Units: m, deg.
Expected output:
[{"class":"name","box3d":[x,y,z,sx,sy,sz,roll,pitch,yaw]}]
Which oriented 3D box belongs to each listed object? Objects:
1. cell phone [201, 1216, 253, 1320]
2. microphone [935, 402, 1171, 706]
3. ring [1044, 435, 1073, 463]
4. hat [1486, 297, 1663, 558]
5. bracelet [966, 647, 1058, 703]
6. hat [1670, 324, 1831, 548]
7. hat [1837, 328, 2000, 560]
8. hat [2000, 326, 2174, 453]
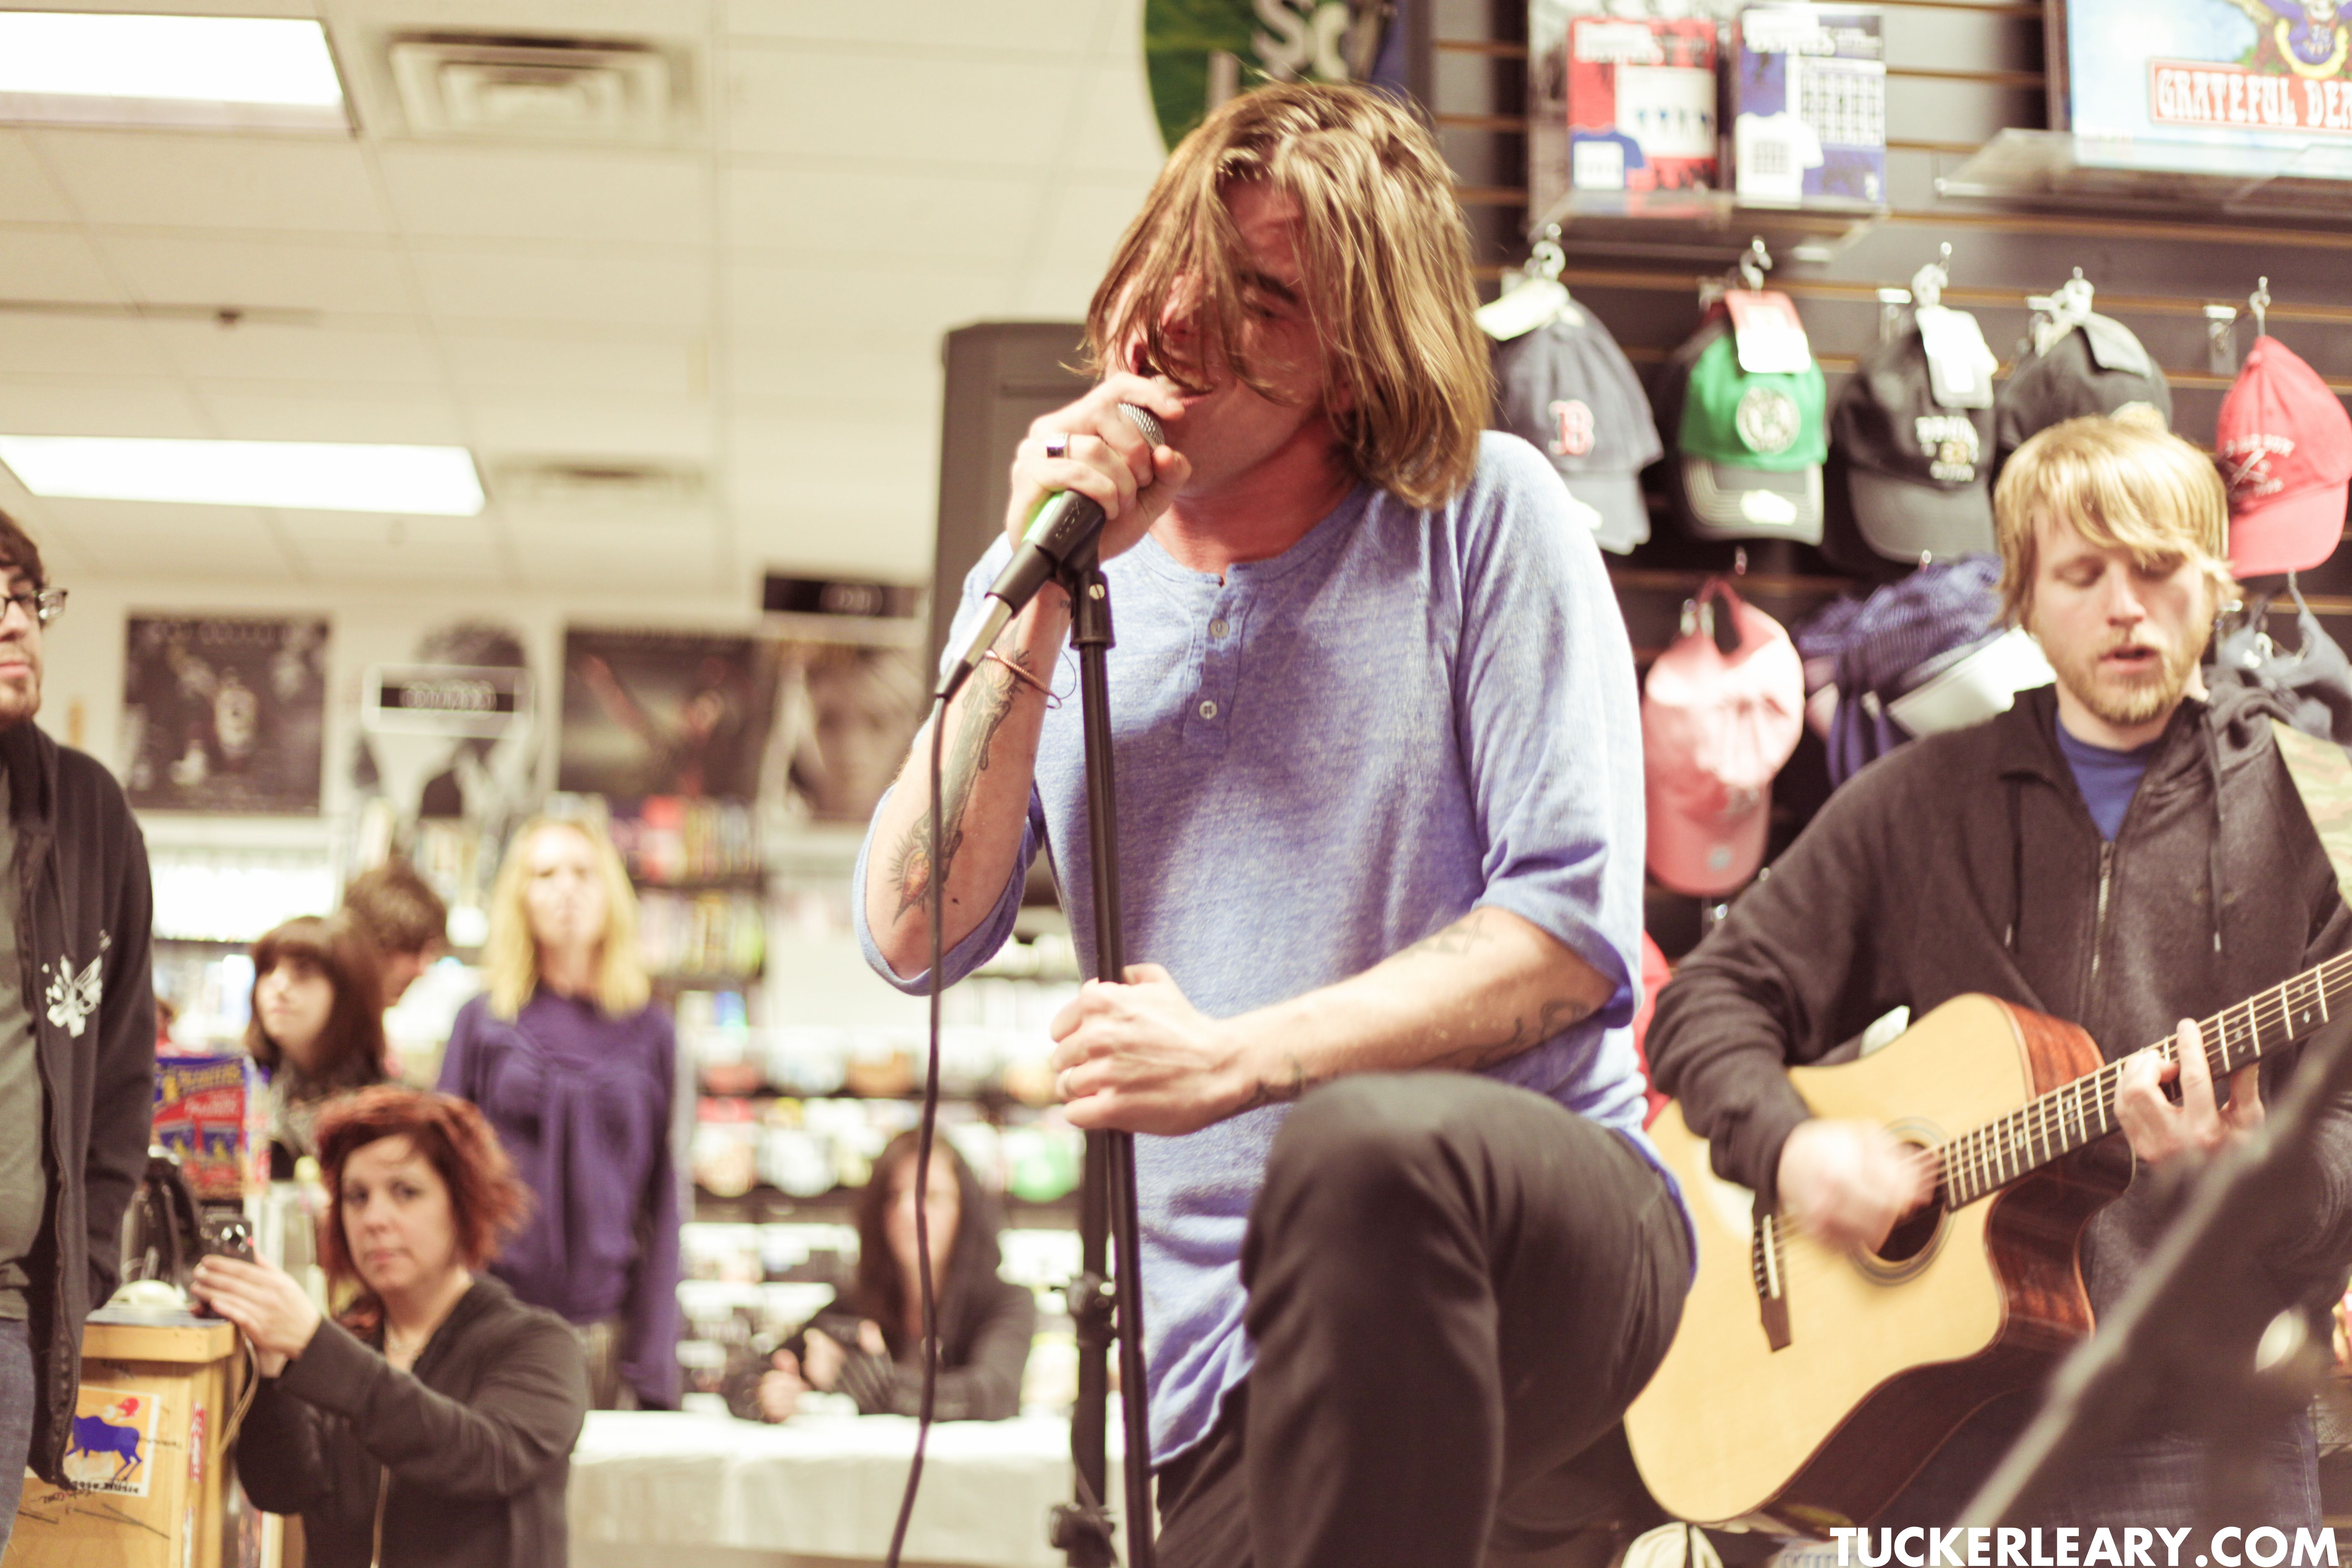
[{"class":"cell phone","box3d":[-1.546,0.762,4.199,0.106,0.143,0.040,33,47,12]},{"class":"microphone","box3d":[-0.160,-0.256,3.034,0.098,0.443,0.104,23,-20,42]},{"class":"ring","box3d":[-0.138,-0.390,3.015,0.036,0.032,0.020,0,-1,38]},{"class":"hat","box3d":[0.698,-0.575,4.342,0.285,0.415,0.138,-23,4,-12]},{"class":"bracelet","box3d":[-0.187,-0.139,3.145,0.066,0.068,0.020,15,15,23]},{"class":"hat","box3d":[0.991,-0.629,4.413,0.302,0.268,0.516,5,33,2]},{"class":"hat","box3d":[1.237,-0.551,4.233,0.245,0.359,0.128,-7,-9,1]},{"class":"hat","box3d":[1.519,-0.670,4.306,0.247,0.245,0.186,-13,-13,15]}]
